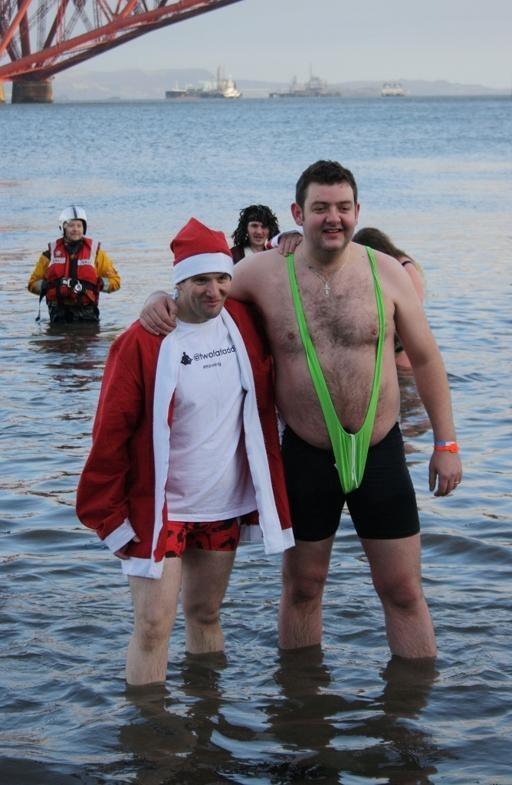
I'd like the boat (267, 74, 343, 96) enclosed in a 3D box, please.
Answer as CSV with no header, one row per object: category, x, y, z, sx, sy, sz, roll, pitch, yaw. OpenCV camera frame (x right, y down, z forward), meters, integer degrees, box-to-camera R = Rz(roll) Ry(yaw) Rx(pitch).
boat,8.509,-51.770,175.150,9.567,3.018,21.886,0,13,1

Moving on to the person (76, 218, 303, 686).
person,-0.186,0.255,3.491,0.518,1.631,0.718,12,20,35

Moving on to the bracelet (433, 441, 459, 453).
bracelet,0.674,0.192,3.676,0.058,0.024,0.054,1,1,25

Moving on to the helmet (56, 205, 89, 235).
helmet,-1.841,-1.751,10.469,0.318,0.250,0.334,0,3,-17

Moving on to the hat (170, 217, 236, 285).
hat,-0.212,-0.477,3.461,0.195,0.179,0.247,-21,12,-24

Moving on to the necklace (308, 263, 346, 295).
necklace,0.252,-0.388,3.533,0.132,0.099,0.029,0,-9,3
